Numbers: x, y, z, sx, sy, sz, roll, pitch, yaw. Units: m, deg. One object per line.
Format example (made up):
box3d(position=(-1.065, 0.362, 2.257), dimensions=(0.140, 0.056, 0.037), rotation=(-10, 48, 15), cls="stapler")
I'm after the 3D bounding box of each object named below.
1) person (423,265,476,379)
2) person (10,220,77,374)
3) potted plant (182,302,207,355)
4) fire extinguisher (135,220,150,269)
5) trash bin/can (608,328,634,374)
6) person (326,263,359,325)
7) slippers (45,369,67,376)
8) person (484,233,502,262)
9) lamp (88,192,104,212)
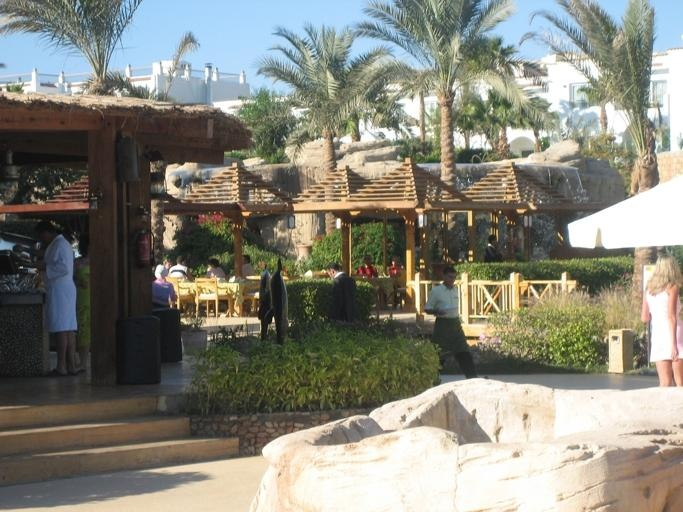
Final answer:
box3d(position=(2.113, 1.265, 27.343), dimensions=(0.823, 2.121, 0.905), rotation=(-4, -4, 19), cls="person")
box3d(position=(-5.114, 0.690, 26.036), dimensions=(0.608, 2.637, 0.717), rotation=(-3, -4, 5), cls="person")
box3d(position=(-3.041, 1.516, 29.473), dimensions=(0.432, 1.166, 0.467), rotation=(-3, -4, 11), cls="potted plant")
box3d(position=(-3.609, -0.244, 26.244), dimensions=(0.328, 0.847, 0.222), rotation=(-1, -4, -28), cls="fire extinguisher")
box3d(position=(5.576, 1.863, 28.582), dimensions=(0.414, 0.786, 0.463), rotation=(-1, 6, 19), cls="trash bin/can")
box3d(position=(0.053, 0.737, 29.584), dimensions=(0.517, 1.236, 0.784), rotation=(-3, -4, -1), cls="person")
box3d(position=(-5.238, 2.151, 26.338), dimensions=(0.327, 0.176, 0.161), rotation=(2, -1, 12), cls="slippers")
box3d(position=(4.074, -0.207, 38.289), dimensions=(0.477, 0.849, 1.816), rotation=(-4, -5, 6), cls="person")
box3d(position=(-4.381, -0.990, 25.567), dimensions=(0.285, 0.514, 0.235), rotation=(3, 5, 22), cls="lamp")
